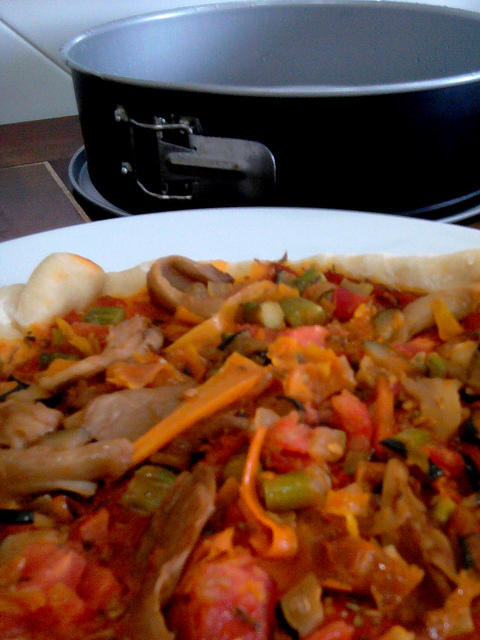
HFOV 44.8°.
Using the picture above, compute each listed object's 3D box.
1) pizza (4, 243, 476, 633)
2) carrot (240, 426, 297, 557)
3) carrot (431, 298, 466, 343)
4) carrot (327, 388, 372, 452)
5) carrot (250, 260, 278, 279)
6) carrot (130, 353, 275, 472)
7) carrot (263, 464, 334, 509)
[{"bbox_3d":[0.053,0.139,1.223,1.002,0.215,1.002,3,40,4],"label":"pizza"},{"bbox_3d":[0.049,0.299,0.991,0.087,0.051,0.214,-8,36,1],"label":"carrot"},{"bbox_3d":[0.486,0.000,1.385,0.067,0.024,0.106,-34,62,21],"label":"carrot"},{"bbox_3d":[0.211,0.194,1.129,0.073,0.037,0.109,-32,70,-4],"label":"carrot"},{"bbox_3d":[0.066,-0.140,1.659,0.072,0.023,0.066,-1,28,-8],"label":"carrot"},{"bbox_3d":[-0.062,0.156,1.150,0.357,0.073,0.118,-33,53,-28],"label":"carrot"},{"bbox_3d":[0.093,0.281,0.986,0.112,0.042,0.056,-6,54,-8],"label":"carrot"}]
